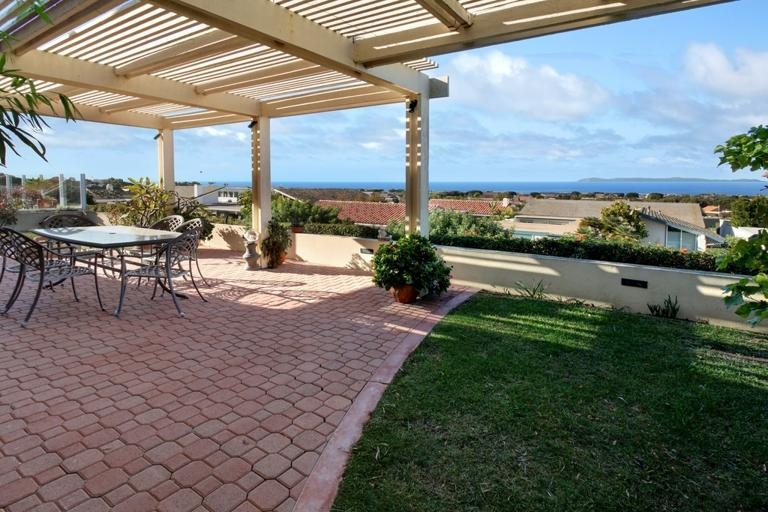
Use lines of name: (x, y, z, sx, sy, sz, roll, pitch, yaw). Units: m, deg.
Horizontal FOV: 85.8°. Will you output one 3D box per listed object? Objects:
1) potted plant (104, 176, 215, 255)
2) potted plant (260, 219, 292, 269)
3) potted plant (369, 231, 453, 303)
potted plant: (-5.083, -1.146, 9.658, 2.303, 1.388, 2.157, 13, 9, 35)
potted plant: (-2.131, -0.242, 8.110, 0.381, 0.880, 0.550, 7, 15, 27)
potted plant: (0.252, 0.203, 6.027, 1.040, 0.839, 1.111, -9, -8, 34)
